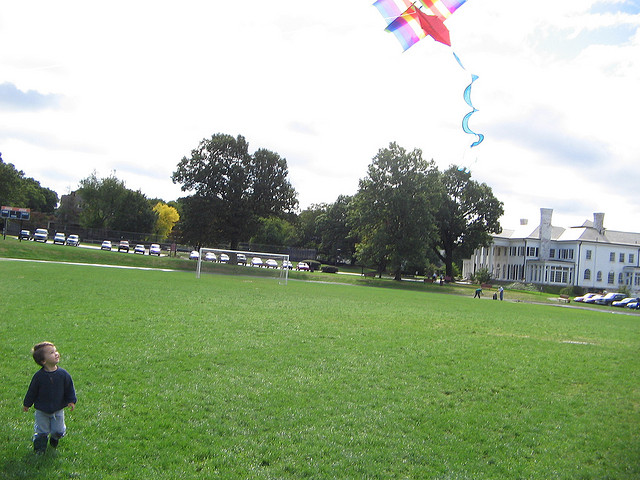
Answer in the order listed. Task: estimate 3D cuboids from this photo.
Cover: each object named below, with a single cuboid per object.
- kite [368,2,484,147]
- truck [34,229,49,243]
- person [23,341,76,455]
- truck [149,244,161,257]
[{"bbox_3d":[2.796,-5.858,16.148,1.923,1.144,2.195,8,10,16],"label":"kite"},{"bbox_3d":[-33.255,-0.663,70.521,1.397,1.434,2.618,3,-6,-27],"label":"truck"},{"bbox_3d":[-5.144,2.896,11.282,0.668,2.260,0.913,0,0,-31],"label":"person"},{"bbox_3d":[-21.468,1.242,76.937,1.253,1.368,2.883,0,-5,-16],"label":"truck"}]
